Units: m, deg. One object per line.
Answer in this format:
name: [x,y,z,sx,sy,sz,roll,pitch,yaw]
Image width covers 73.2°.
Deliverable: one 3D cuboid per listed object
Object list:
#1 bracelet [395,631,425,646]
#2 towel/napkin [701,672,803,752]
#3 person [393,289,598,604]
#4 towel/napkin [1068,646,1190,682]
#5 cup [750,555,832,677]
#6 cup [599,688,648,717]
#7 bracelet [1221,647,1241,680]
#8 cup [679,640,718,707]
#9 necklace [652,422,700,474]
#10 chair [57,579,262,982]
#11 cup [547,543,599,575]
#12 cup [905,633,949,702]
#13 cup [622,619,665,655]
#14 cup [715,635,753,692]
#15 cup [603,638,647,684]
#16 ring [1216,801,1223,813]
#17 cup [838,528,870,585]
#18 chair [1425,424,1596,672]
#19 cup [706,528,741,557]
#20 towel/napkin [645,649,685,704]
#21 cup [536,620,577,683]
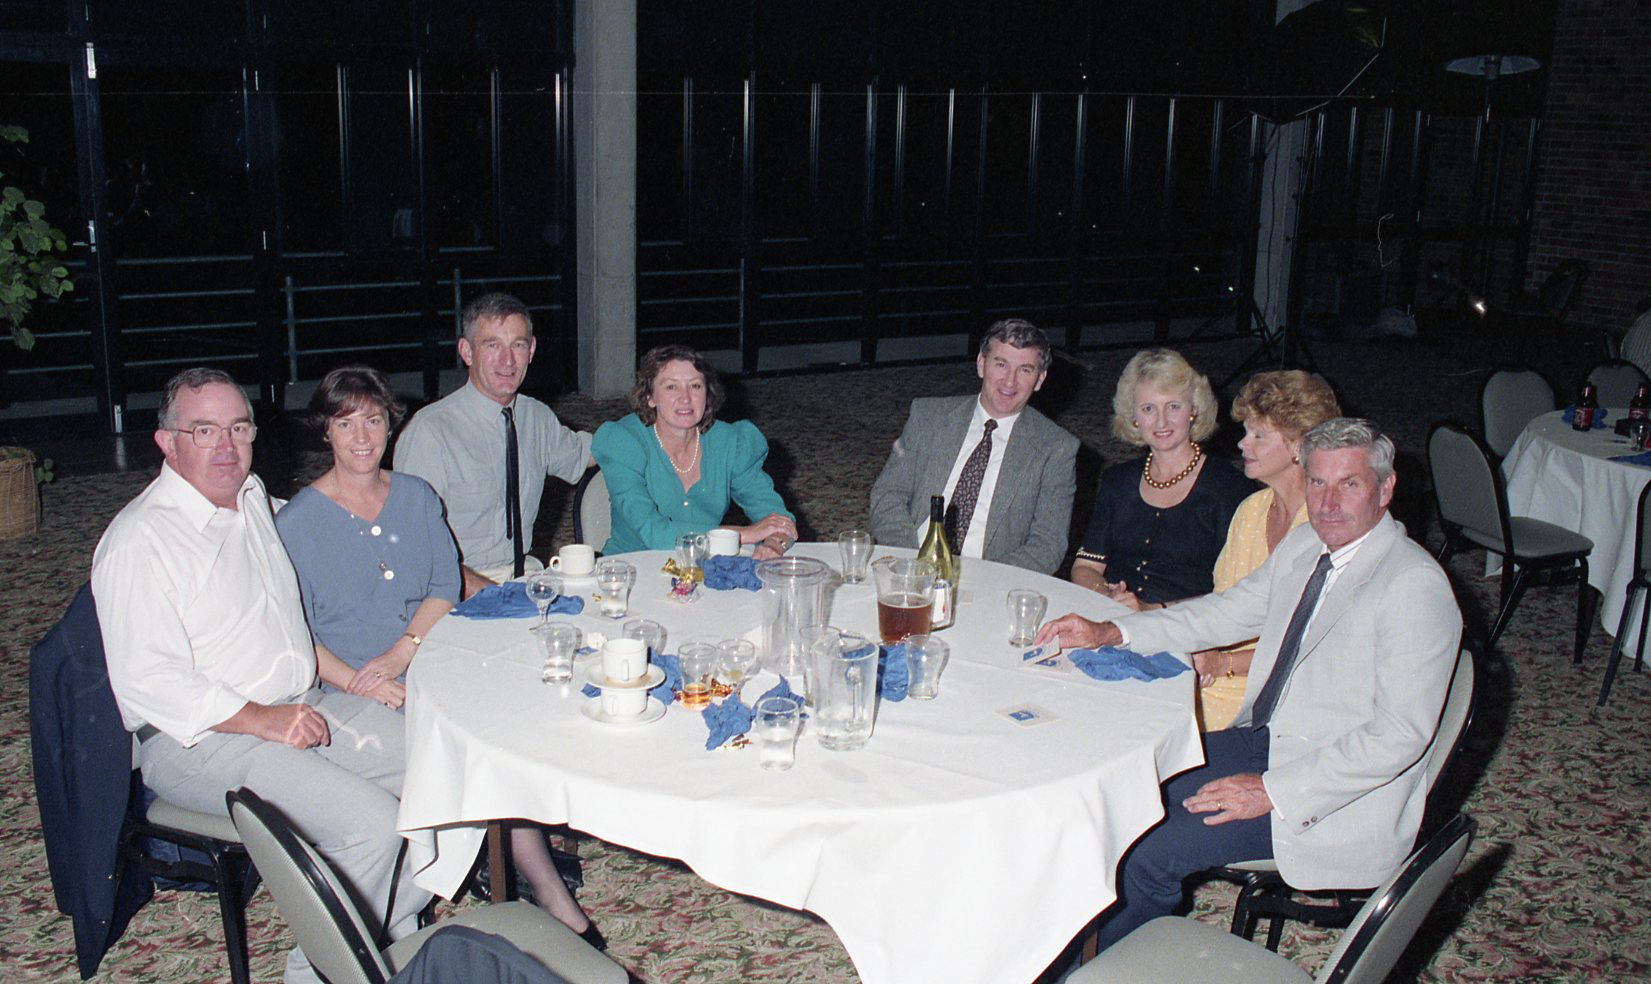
bracelet: [-1.601,0.567,4.315,0.093,0.028,0.091,10,3,-36]
towel/napkin: [-0.272,0.739,3.643,0.392,0.116,0.316,-26,-34,33]
person: [-1.418,-0.103,5.407,0.570,1.483,1.572,2,5,31]
towel/napkin: [1.057,0.602,3.877,0.239,0.028,0.167,2,16,1]
cup: [-0.112,0.423,3.951,0.433,0.422,0.327,1,2,1]
cup: [-0.648,0.665,3.597,0.085,0.086,0.127,8,16,28]
bracelet: [1.624,0.686,4.431,0.086,0.021,0.083,3,40,5]
cup: [-0.420,0.639,3.759,0.131,0.199,0.141,-3,-6,0]
necklace: [-0.645,-0.193,5.010,0.166,0.226,0.057,-3,3,-19]
chair: [-2.365,1.063,3.844,0.739,1.434,0.353,5,15,17]
cup: [-0.984,0.251,4.388,0.156,0.079,0.113,-7,20,-13]
cup: [0.356,0.591,3.801,0.210,0.202,0.144,-1,9,-37]
cup: [-0.622,0.500,3.867,0.137,0.098,0.104,0,7,-24]
cup: [-0.296,0.575,3.768,0.139,0.140,0.135,2,-25,1]
cup: [-0.640,0.537,3.568,0.107,0.101,0.158,-1,16,-1]
ring: [1.336,1.062,3.785,0.031,0.041,0.012,-4,-3,18]
cup: [0.121,0.261,4.516,0.182,0.214,0.181,5,6,-1]
chair: [3.854,0.250,6.327,0.804,1.217,0.727,-1,15,0]
cup: [-0.414,0.202,4.500,0.132,0.087,0.086,-8,14,-27]
towel/napkin: [-0.533,0.622,3.732,0.128,0.043,0.127,-23,43,-37]
cup: [-0.904,0.549,3.825,0.133,0.198,0.136,1,3,0]
